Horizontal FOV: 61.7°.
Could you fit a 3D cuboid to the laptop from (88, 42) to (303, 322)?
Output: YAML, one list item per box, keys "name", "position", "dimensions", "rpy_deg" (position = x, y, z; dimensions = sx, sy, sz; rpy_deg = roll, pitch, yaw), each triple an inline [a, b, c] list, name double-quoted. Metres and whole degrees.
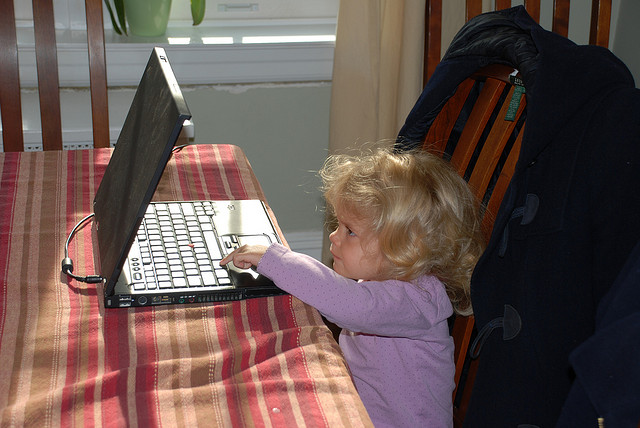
- name: "laptop"
  position: [-0.250, -0.090, 1.075]
  dimensions: [0.452, 0.356, 0.523]
  rpy_deg: [4, 19, -11]

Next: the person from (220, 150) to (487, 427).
- name: "person"
  position: [0.037, 0.077, 1.395]
  dimensions: [0.584, 0.915, 0.441]
  rpy_deg: [2, 12, -3]

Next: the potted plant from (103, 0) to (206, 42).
- name: "potted plant"
  position: [-0.633, -0.755, 2.052]
  dimensions: [0.355, 0.159, 0.256]
  rpy_deg: [-4, 25, -23]
